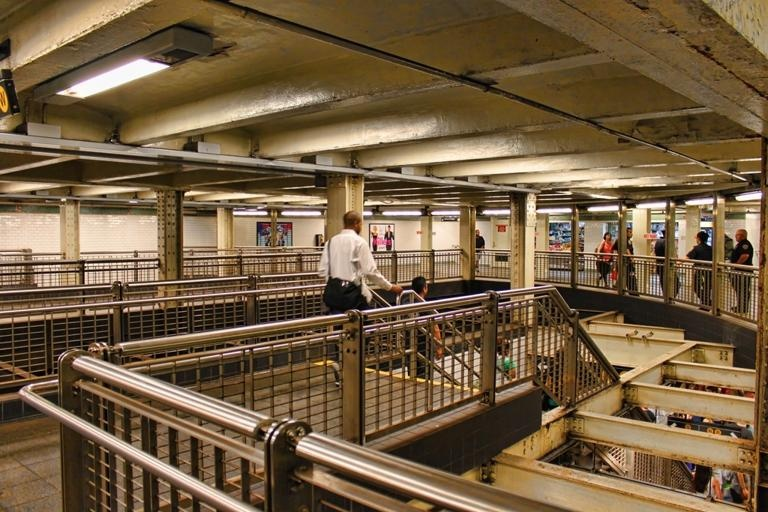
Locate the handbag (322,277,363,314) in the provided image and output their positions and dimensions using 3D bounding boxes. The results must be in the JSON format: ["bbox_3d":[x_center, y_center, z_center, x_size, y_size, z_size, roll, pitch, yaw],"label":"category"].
[{"bbox_3d":[-0.491,0.477,6.883,0.536,0.463,0.344,5,17,25],"label":"handbag"}]

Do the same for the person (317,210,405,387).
[{"bbox_3d":[-0.377,0.406,6.978,0.855,1.339,1.535,2,-1,-7],"label":"person"}]

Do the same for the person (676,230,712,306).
[{"bbox_3d":[7.373,0.304,13.406,0.468,1.824,1.616,2,-1,27],"label":"person"}]
